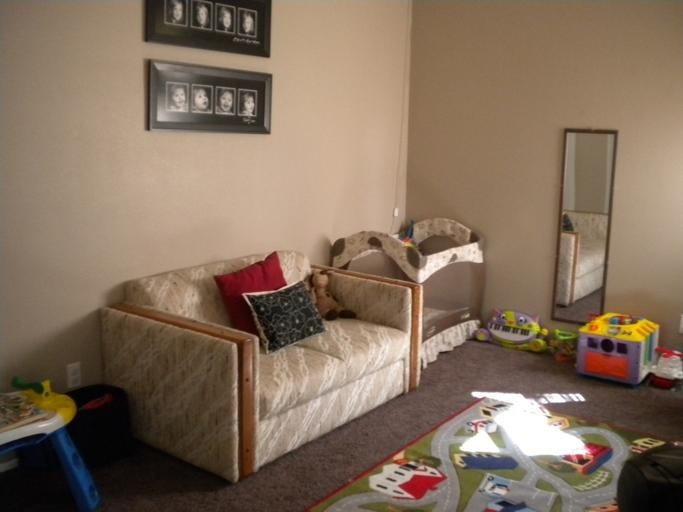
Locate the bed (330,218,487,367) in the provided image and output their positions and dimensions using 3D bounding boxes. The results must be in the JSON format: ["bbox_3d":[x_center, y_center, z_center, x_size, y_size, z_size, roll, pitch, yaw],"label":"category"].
[{"bbox_3d":[0.557,0.201,4.822,1.179,1.326,1.513,6,11,40],"label":"bed"}]

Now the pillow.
[{"bbox_3d":[-0.465,0.313,3.346,0.181,0.564,0.604,-33,-11,38],"label":"pillow"}]

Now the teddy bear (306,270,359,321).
[{"bbox_3d":[-0.145,0.284,3.864,0.272,0.384,0.300,-3,32,21],"label":"teddy bear"}]
